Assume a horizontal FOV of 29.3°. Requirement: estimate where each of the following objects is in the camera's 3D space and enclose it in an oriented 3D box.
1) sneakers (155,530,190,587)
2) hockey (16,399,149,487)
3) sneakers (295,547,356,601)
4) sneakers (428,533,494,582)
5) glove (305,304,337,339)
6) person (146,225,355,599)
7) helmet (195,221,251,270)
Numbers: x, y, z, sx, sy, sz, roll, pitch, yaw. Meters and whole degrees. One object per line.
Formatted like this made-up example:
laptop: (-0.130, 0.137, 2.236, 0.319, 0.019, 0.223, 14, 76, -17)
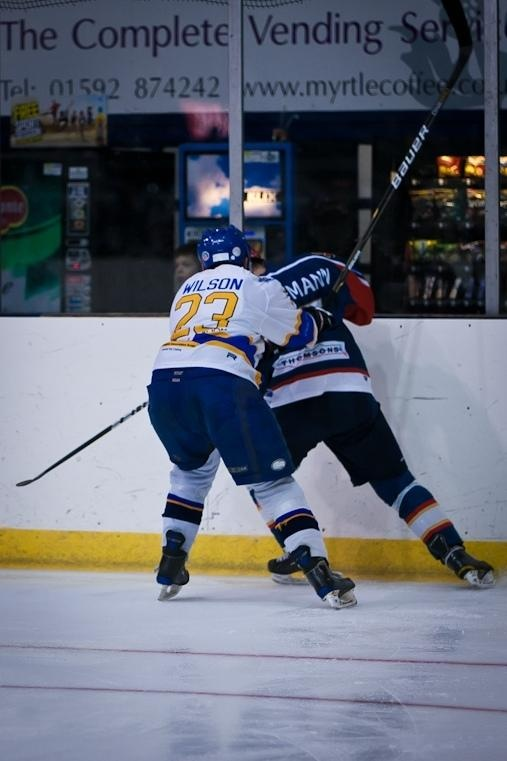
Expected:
sneakers: (-0.257, 0.569, 3.110, 0.096, 0.175, 0.189, 9, -6, 3)
hockey: (-0.646, 0.254, 3.795, 0.546, 0.076, 0.039, -34, 41, -14)
sneakers: (0.233, 0.591, 2.910, 0.055, 0.149, 0.166, -24, -15, 24)
sneakers: (0.679, 0.594, 3.218, 0.211, 0.096, 0.131, 37, -9, 15)
glove: (0.228, -0.190, 3.135, 0.079, 0.097, 0.104, 1, -20, 10)
person: (-0.011, 0.105, 3.013, 0.623, 1.200, 0.411, 0, 1, -5)
helmet: (-0.087, -0.434, 3.106, 0.127, 0.147, 0.156, -2, -1, 12)
